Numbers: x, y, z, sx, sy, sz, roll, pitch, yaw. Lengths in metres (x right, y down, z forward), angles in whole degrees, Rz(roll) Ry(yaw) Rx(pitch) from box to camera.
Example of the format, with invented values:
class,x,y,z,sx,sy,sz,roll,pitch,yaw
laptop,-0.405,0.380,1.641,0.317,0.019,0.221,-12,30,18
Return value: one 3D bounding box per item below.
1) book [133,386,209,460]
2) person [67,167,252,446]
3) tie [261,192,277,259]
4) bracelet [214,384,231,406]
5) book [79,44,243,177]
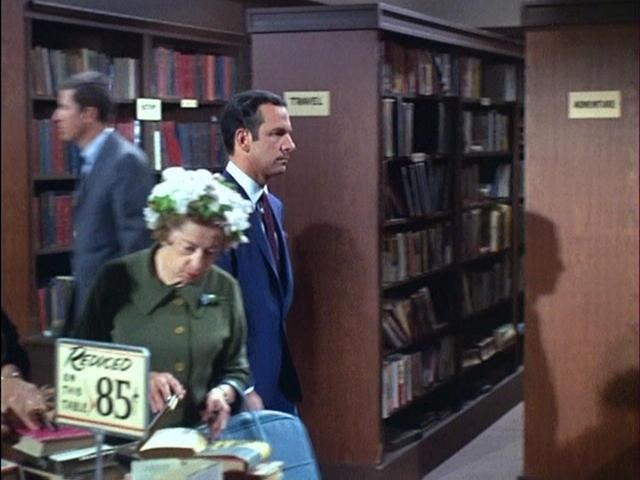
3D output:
class,x,y,z,sx,sy,sz,roll,pitch,yaw
book,-0.398,0.493,1.694,0.197,0.115,0.227,-7,10,-37
person,-0.424,0.186,1.807,0.473,0.758,0.151,-4,8,-23
tie,-0.197,-0.066,2.519,0.040,0.307,0.035,-5,-35,-11
bracelet,-0.277,0.449,1.883,0.051,0.051,0.051,5,16,18
book,-1.096,-0.965,4.643,0.706,0.958,1.004,-1,-2,21
